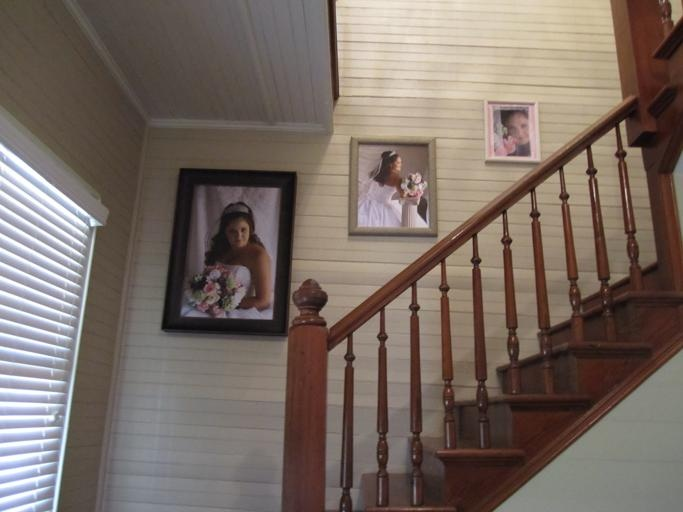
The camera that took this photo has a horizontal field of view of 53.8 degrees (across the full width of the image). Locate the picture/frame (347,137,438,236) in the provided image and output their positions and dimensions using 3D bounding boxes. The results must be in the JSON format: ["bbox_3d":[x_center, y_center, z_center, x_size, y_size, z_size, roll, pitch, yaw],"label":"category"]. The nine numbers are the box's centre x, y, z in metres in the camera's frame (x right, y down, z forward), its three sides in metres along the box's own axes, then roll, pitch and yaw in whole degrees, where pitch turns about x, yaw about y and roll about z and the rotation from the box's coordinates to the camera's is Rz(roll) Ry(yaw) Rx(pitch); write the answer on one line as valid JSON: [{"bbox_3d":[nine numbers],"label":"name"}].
[{"bbox_3d":[0.352,-0.463,4.782,0.622,0.813,0.057,1,-14,1],"label":"picture/frame"}]

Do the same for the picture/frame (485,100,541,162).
[{"bbox_3d":[1.216,-0.882,4.866,0.403,0.516,0.036,0,-16,-1],"label":"picture/frame"}]
